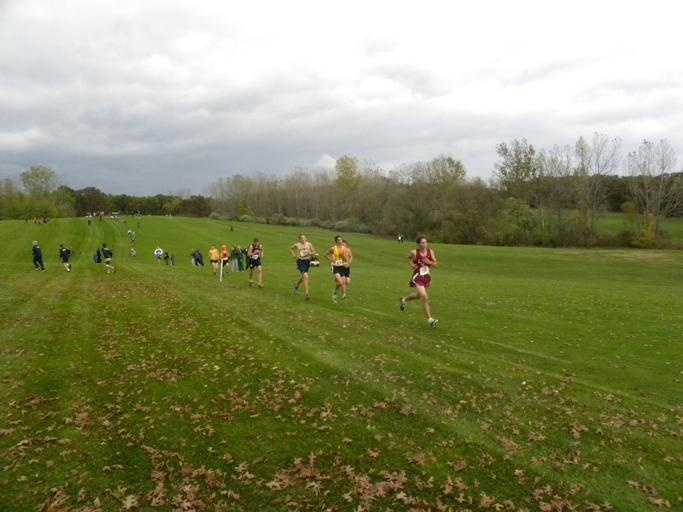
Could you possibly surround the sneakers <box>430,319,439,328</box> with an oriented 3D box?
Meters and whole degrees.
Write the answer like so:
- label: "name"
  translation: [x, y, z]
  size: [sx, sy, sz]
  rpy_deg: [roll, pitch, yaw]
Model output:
- label: "sneakers"
  translation: [2.788, 2.084, 13.778]
  size: [0.168, 0.227, 0.470]
  rpy_deg: [2, -16, -26]
